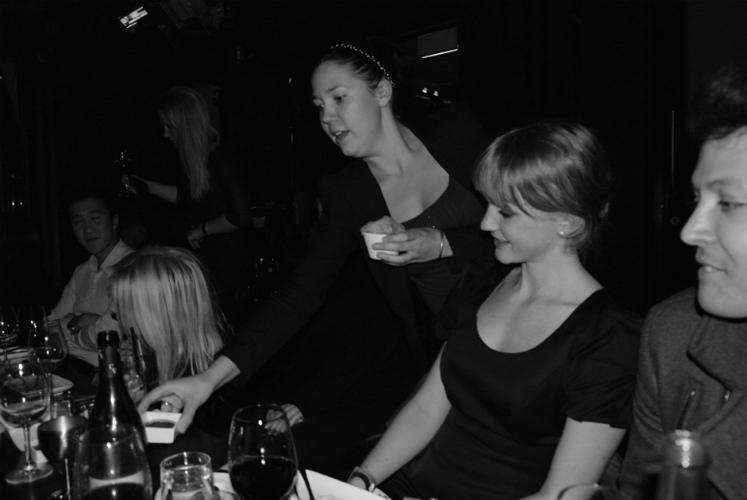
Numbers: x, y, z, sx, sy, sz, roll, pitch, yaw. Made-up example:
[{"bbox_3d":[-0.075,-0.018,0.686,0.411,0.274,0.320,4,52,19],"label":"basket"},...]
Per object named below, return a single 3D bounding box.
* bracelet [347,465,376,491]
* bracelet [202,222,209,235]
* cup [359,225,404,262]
[{"bbox_3d":[-0.025,0.760,2.289,0.073,0.084,0.071,-16,39,41],"label":"bracelet"},{"bbox_3d":[-1.070,-0.127,4.367,0.020,0.056,0.059,-1,-7,-3],"label":"bracelet"},{"bbox_3d":[0.007,-0.025,2.635,0.125,0.088,0.132,0,-9,0],"label":"cup"}]
